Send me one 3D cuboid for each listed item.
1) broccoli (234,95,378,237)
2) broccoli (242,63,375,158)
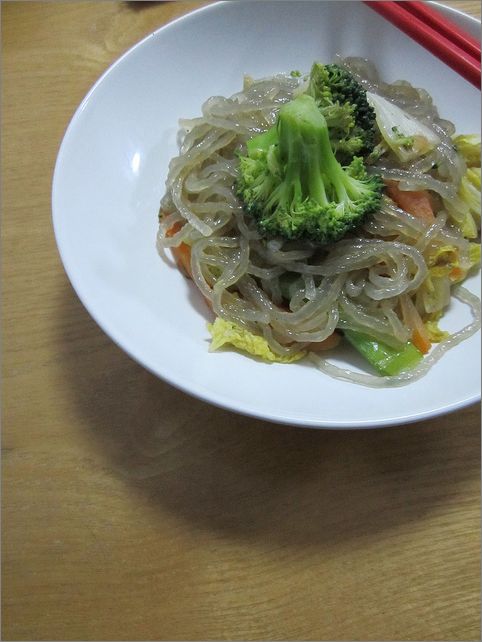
[{"bbox_3d":[0.162,-0.426,1.840,0.472,0.274,0.320,15,70,24],"label":"broccoli"},{"bbox_3d":[0.248,-0.612,1.886,0.202,0.212,0.195,4,26,-32],"label":"broccoli"}]
